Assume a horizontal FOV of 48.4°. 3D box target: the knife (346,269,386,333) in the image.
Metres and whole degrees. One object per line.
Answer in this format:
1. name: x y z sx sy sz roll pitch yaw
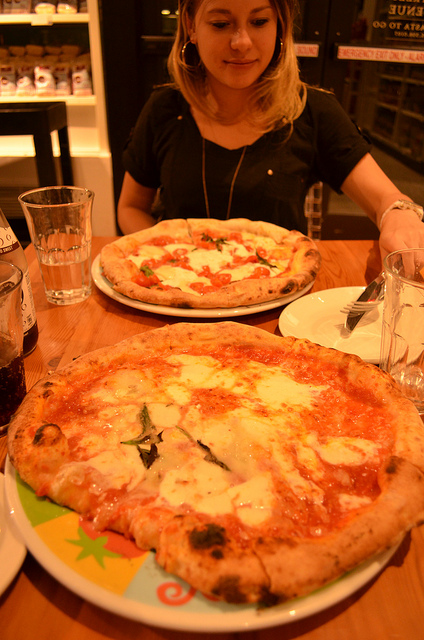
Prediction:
1. knife: 0.466 -0.087 1.386 0.066 0.055 0.384 31 38 6

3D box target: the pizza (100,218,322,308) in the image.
1. pizza: 0.005 -0.226 1.673 0.734 0.100 0.852 9 29 11
